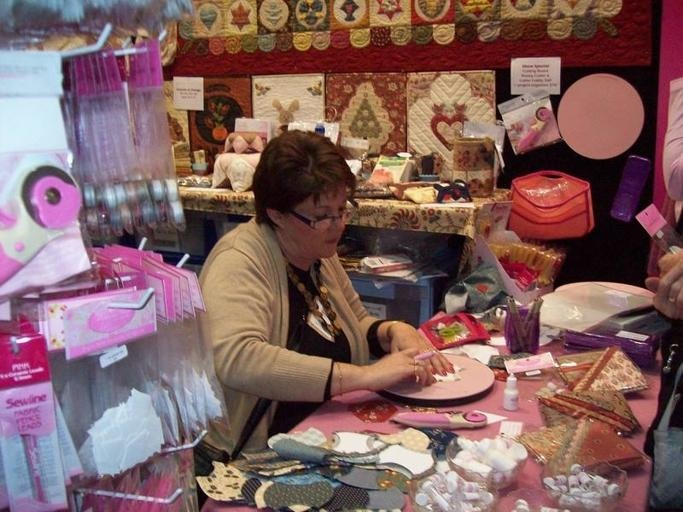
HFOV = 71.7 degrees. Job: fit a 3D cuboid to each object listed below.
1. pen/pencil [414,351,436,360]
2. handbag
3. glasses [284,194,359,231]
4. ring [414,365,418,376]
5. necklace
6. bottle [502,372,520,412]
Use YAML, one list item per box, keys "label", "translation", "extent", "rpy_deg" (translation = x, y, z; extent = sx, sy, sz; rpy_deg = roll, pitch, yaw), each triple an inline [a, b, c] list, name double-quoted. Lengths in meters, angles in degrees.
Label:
- label: "pen/pencil"
  translation: [0.256, 0.304, 1.433]
  extent: [0.051, 0.015, 0.011]
  rpy_deg: [-21, 22, -13]
- label: "handbag"
  translation: [1.111, -0.266, 2.572]
  extent: [0.540, 0.420, 0.332]
  rpy_deg: [0, 14, 16]
- label: "glasses"
  translation: [-0.053, -0.128, 1.636]
  extent: [0.162, 0.052, 0.165]
  rpy_deg: [20, 34, 29]
- label: "ring"
  translation: [0.219, 0.333, 1.368]
  extent: [0.019, 0.021, 0.019]
  rpy_deg: [-7, 39, 6]
- label: "necklace"
  translation: [-0.098, 0.145, 1.753]
  extent: [0.055, 0.283, 0.169]
  rpy_deg: [-31, -14, 28]
- label: "bottle"
  translation: [0.467, 0.369, 1.304]
  extent: [0.039, 0.088, 0.087]
  rpy_deg: [-1, 11, 21]
